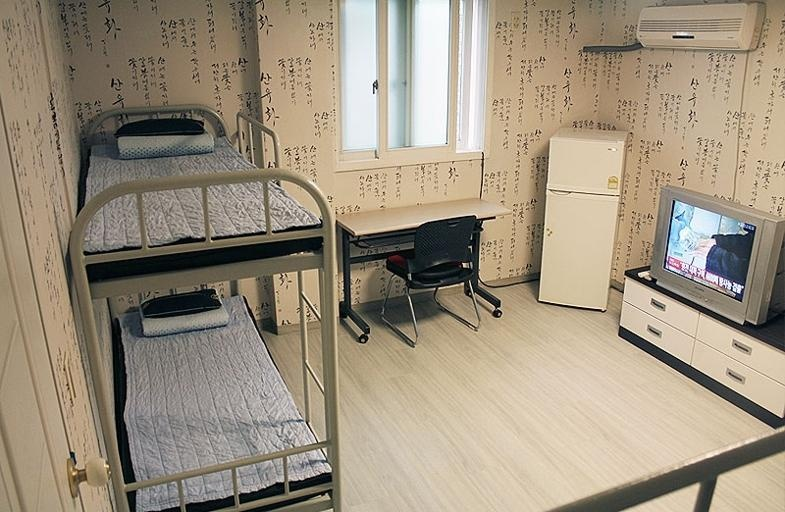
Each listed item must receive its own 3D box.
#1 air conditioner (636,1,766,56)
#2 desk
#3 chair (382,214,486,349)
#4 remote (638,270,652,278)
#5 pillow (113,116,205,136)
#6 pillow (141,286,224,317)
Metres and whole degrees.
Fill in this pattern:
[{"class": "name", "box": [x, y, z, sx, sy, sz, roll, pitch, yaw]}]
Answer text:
[{"class": "air conditioner", "box": [2.223, -1.671, 4.070, 0.200, 0.322, 0.835, -16, 25, -28]}, {"class": "desk", "box": [0.246, 0.098, 4.663, 1.372, 0.932, 0.656, -8, 19, -20]}, {"class": "chair", "box": [0.356, 0.111, 4.479, 0.896, 0.969, 0.597, -10, 23, -17]}, {"class": "remote", "box": [1.933, 0.152, 4.240, 0.065, 0.018, 0.060, -13, 26, -32]}, {"class": "pillow", "box": [-1.546, -0.850, 3.634, 0.322, 0.056, 0.207, -8, 23, -17]}, {"class": "pillow", "box": [-1.354, 0.316, 3.562, 0.372, 0.086, 0.216, -7, 21, -25]}]
